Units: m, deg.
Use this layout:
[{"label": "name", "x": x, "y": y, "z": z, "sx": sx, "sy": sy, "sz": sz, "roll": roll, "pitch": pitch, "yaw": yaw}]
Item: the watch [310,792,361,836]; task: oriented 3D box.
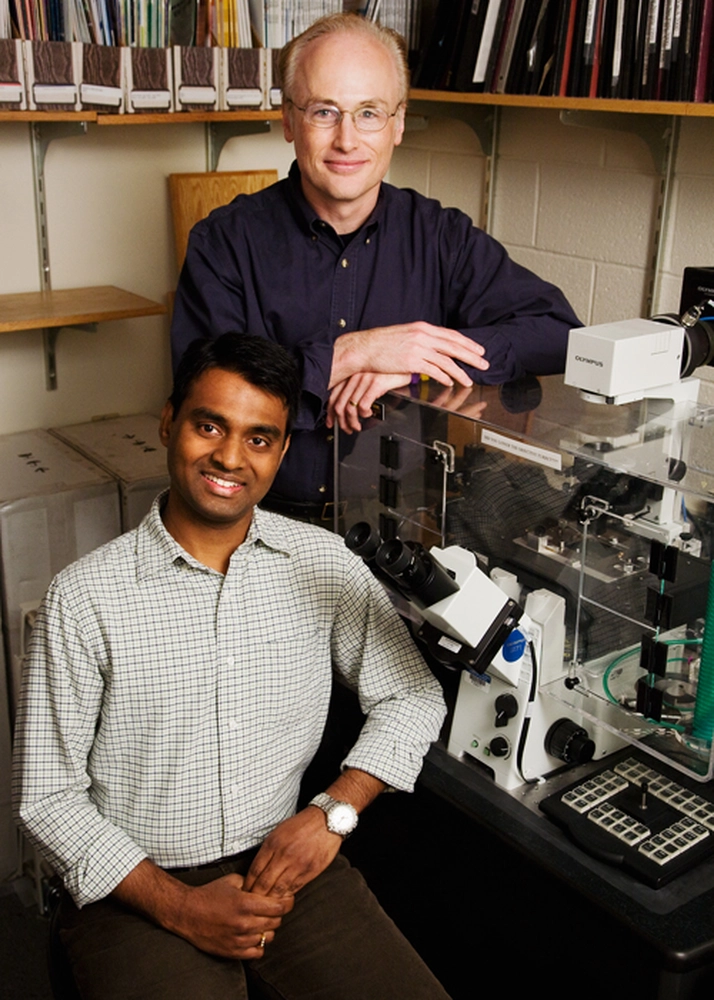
[{"label": "watch", "x": -0.029, "y": 0.386, "z": 0.971, "sx": 0.037, "sy": 0.040, "sz": 0.027, "roll": 42, "pitch": 61, "yaw": 12}]

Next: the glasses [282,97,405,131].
[{"label": "glasses", "x": -0.027, "y": -0.706, "z": 1.462, "sx": 0.204, "sy": 0.057, "sz": 0.157, "roll": -11, "pitch": 27, "yaw": -27}]

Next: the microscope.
[{"label": "microscope", "x": 0.128, "y": 0.194, "z": 0.942, "sx": 0.221, "sy": 0.334, "sz": 0.293, "roll": 14, "pitch": 17, "yaw": 42}]
